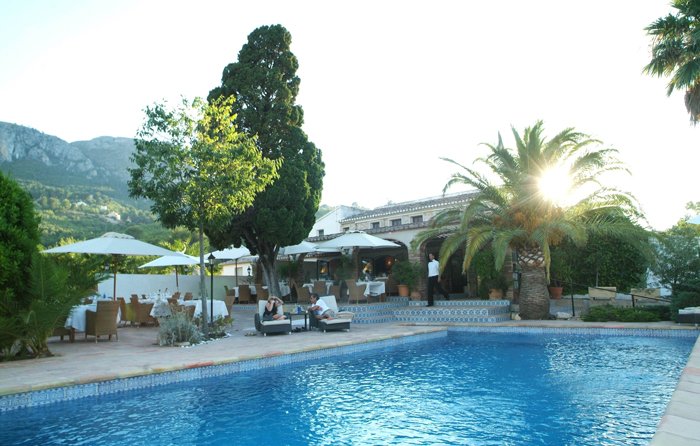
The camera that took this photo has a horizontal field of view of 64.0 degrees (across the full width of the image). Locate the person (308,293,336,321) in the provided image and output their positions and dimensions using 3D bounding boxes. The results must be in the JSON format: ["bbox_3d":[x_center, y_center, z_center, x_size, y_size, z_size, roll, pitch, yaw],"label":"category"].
[{"bbox_3d":[-1.132,3.328,22.774,1.126,0.748,1.369,-5,11,-25],"label":"person"}]

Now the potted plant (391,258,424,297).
[{"bbox_3d":[3.065,2.756,29.455,1.635,1.839,1.384,2,-5,-14],"label":"potted plant"}]

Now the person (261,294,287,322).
[{"bbox_3d":[-2.979,3.365,22.456,1.183,1.281,0.784,6,-12,-44],"label":"person"}]

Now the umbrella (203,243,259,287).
[{"bbox_3d":[-6.799,1.665,31.768,3.027,2.367,3.164,-1,-8,-7],"label":"umbrella"}]

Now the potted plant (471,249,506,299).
[{"bbox_3d":[6.745,2.377,27.071,1.539,2.414,0.603,3,11,17],"label":"potted plant"}]

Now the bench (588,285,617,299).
[{"bbox_3d":[11.296,3.022,25.014,1.109,0.655,0.712,4,11,20],"label":"bench"}]

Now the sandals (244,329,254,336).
[{"bbox_3d":[-4.001,4.262,22.331,0.189,0.245,0.546,1,0,23],"label":"sandals"}]
